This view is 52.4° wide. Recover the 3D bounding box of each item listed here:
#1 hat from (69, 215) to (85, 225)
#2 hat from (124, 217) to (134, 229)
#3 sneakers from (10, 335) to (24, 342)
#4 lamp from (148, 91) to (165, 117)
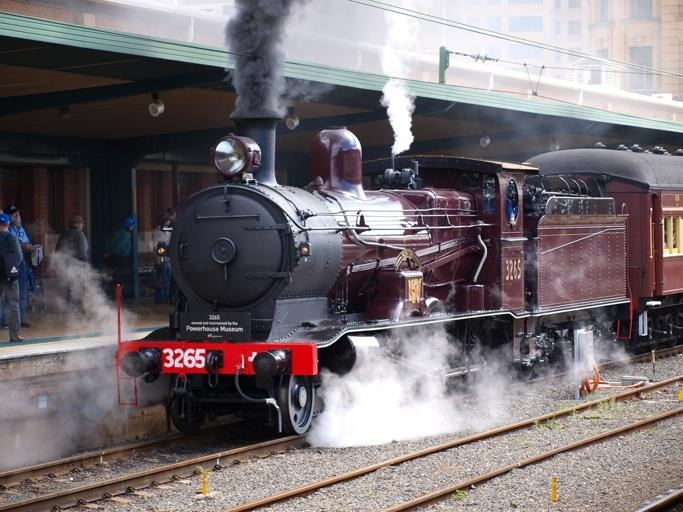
[{"bbox_3d":[-5.552,-0.736,14.633,0.214,0.222,0.485,-3,0,-26],"label":"hat"},{"bbox_3d":[-5.172,-0.838,17.085,0.251,0.249,0.064,-23,-12,13],"label":"hat"},{"bbox_3d":[-5.243,1.345,11.371,0.259,0.123,0.091,-4,-2,16],"label":"sneakers"},{"bbox_3d":[-3.541,-2.928,13.396,0.225,0.467,0.694,-3,0,-11],"label":"lamp"}]
